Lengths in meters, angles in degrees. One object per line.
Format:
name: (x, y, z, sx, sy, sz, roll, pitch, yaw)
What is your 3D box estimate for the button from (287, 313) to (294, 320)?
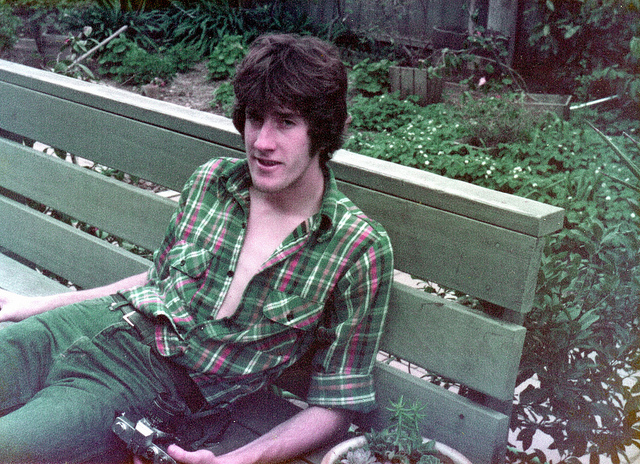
button: (-0.095, 0.271, 1.594, 0.020, 0.018, 0.009, 0, 19, -10)

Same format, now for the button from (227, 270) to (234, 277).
button: (-0.302, 0.140, 1.667, 0.020, 0.020, 0.005, -1, -8, 6)

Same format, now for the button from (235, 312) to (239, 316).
button: (-0.271, 0.267, 1.616, 0.010, 0.015, 0.002, 0, 19, -9)

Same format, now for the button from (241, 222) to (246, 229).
button: (-0.264, -0.025, 1.709, 0.016, 0.016, 0.004, 14, 4, 36)

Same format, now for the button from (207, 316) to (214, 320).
button: (-0.363, 0.284, 1.635, 0.021, 0.012, 0.008, 11, 21, 21)

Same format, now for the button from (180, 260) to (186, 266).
button: (-0.476, 0.105, 1.709, 0.023, 0.021, 0.009, 15, 23, 30)
